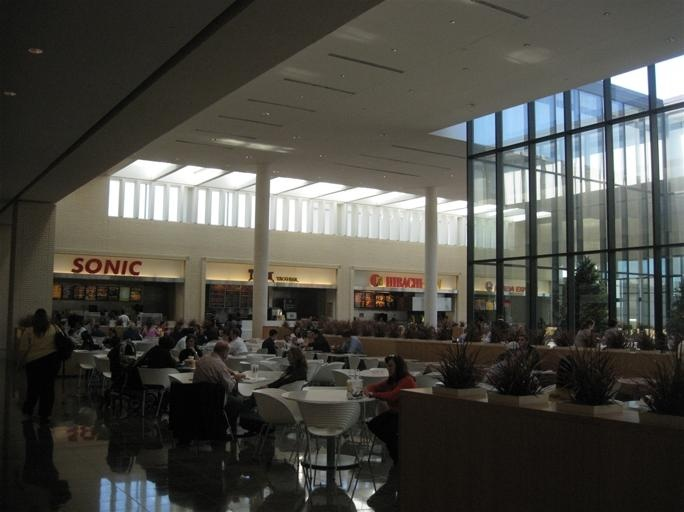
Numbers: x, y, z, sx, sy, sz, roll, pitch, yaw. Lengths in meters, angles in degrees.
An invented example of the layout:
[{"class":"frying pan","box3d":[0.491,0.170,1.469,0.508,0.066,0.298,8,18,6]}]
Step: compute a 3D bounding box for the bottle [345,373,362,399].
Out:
[{"class":"bottle","box3d":[0.168,1.583,7.229,0.199,0.378,0.217,-1,-7,0]}]
